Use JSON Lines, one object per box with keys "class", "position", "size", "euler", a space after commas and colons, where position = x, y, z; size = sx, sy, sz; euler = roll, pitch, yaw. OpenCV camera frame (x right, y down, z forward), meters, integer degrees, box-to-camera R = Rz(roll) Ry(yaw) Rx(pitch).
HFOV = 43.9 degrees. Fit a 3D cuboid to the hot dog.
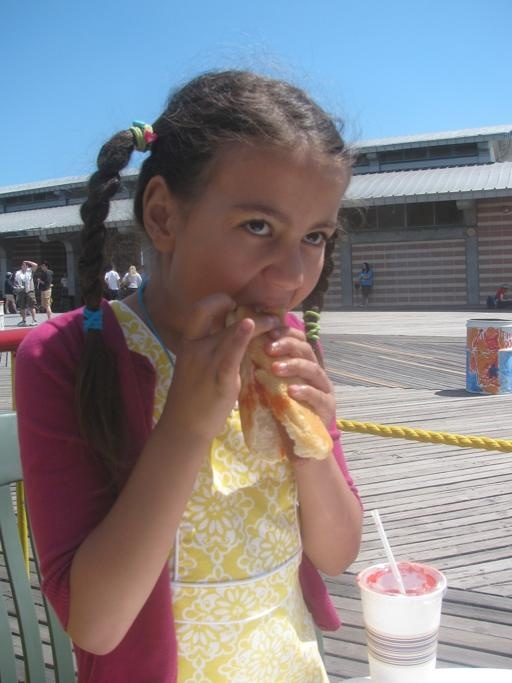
{"class": "hot dog", "position": [0.018, 0.082, 1.249], "size": [0.181, 0.300, 0.095], "euler": [-20, 5, -41]}
